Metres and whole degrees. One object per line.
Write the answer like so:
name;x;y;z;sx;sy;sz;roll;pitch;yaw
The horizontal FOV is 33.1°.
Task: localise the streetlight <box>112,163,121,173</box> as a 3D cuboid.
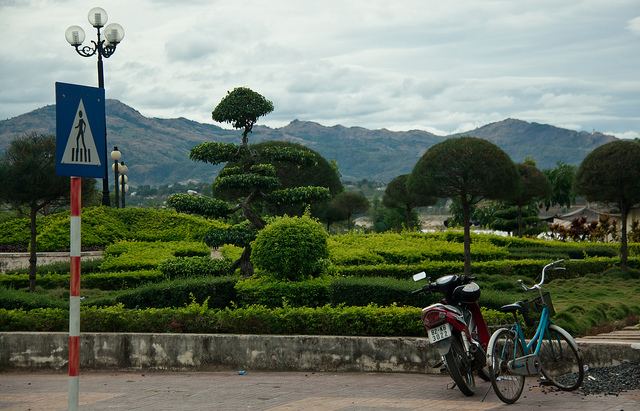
streetlight;-10.282;-1.870;54.521;0.556;0.445;0.623;1;-3;-17
